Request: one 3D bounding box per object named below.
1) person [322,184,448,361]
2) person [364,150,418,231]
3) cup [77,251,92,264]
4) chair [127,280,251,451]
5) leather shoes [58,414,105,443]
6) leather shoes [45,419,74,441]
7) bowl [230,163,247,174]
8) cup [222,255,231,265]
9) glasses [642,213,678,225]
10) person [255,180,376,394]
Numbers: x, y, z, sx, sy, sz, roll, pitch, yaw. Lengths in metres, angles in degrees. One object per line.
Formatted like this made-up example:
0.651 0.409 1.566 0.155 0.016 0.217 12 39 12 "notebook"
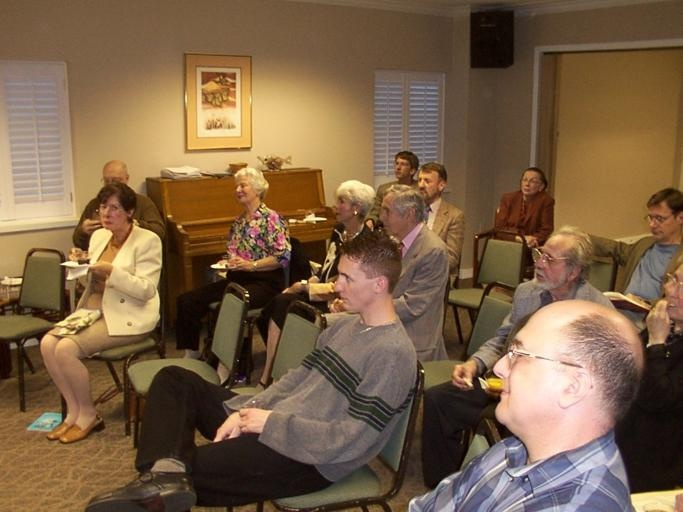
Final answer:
0.410 0.210 3.794 0.758 1.428 0.697 -1 16 -1 "person"
0.618 -0.697 6.099 0.705 0.926 0.692 0 14 -10 "person"
-1.773 0.013 3.662 0.113 0.101 0.125 0 -3 0 "cup"
-0.945 0.724 3.265 0.653 1.017 0.570 2 8 -16 "chair"
-1.763 1.195 3.670 0.105 0.117 0.294 4 14 42 "leather shoes"
-1.910 1.179 3.660 0.072 0.083 0.205 7 8 27 "leather shoes"
-1.161 -0.990 6.005 0.176 0.125 0.177 -1 3 0 "bowl"
-0.980 0.037 4.600 0.071 0.075 0.135 -6 0 -2 "cup"
2.477 -0.290 4.141 0.188 0.079 0.122 11 18 40 "glasses"
-0.205 0.250 4.167 0.899 1.743 0.656 6 10 -15 "person"
